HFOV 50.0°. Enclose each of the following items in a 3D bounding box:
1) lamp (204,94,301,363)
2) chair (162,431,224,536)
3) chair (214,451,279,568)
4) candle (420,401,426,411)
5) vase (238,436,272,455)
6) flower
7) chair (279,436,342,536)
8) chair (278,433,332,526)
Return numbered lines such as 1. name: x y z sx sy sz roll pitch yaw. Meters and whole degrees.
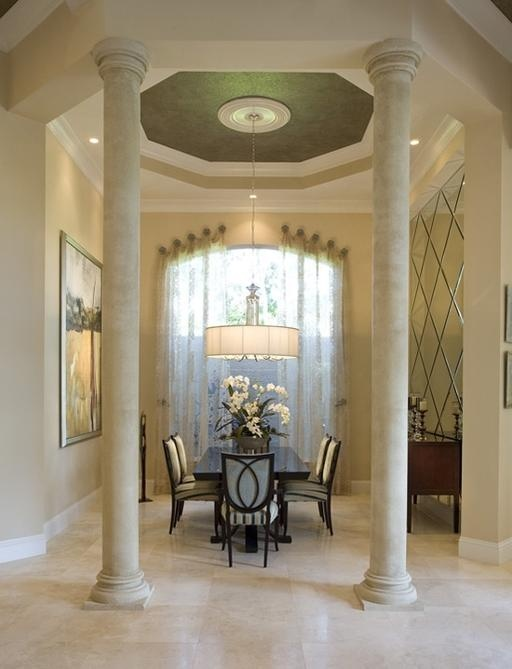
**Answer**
1. lamp: -0.050 -0.943 5.713 0.874 2.451 1.933 2 -4 -5
2. chair: -0.592 1.429 5.312 0.496 0.965 0.515 -2 2 -2
3. chair: -0.043 1.369 4.444 0.475 0.899 0.697 2 -4 -2
4. candle: 1.763 0.745 5.740 0.084 0.110 0.091 2 -5 0
5. vase: -0.012 1.015 5.063 0.235 0.100 0.255 2 -12 -9
6. flower: 0.004 0.728 5.248 0.602 0.548 0.763 1 17 -20
7. chair: 0.491 1.424 5.311 0.487 0.890 0.492 5 1 2
8. chair: 0.497 1.424 5.305 0.559 0.876 0.545 4 2 -21
